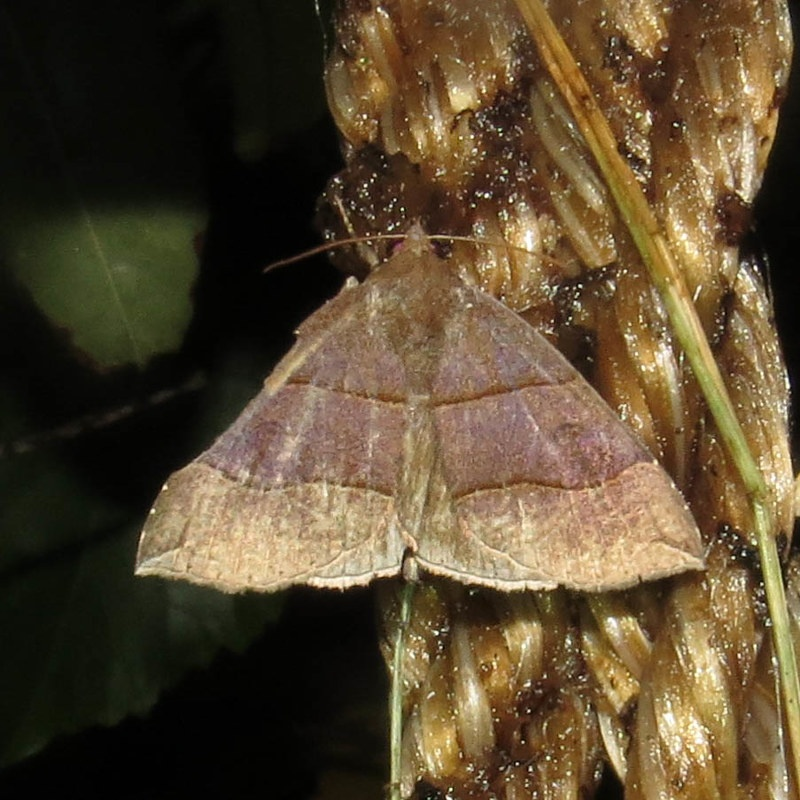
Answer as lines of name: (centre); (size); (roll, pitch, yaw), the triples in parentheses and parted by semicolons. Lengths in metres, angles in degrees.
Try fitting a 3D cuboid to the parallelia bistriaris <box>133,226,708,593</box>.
parallelia bistriaris: (0.019, 0.045, 0.970); (0.348, 0.118, 0.349); (1, 82, 10)
